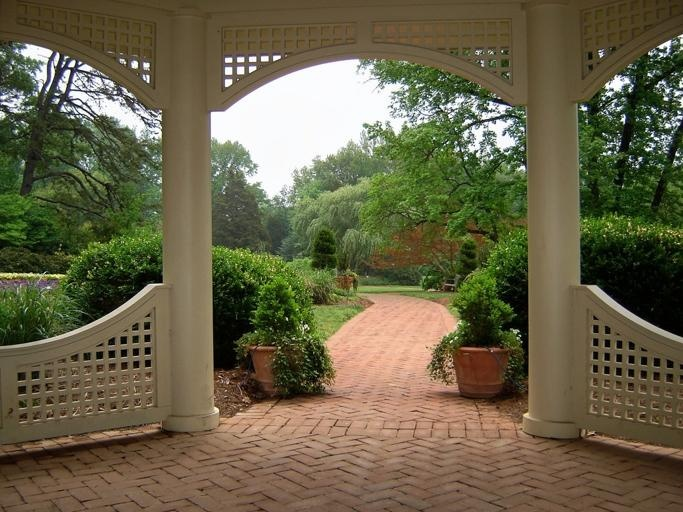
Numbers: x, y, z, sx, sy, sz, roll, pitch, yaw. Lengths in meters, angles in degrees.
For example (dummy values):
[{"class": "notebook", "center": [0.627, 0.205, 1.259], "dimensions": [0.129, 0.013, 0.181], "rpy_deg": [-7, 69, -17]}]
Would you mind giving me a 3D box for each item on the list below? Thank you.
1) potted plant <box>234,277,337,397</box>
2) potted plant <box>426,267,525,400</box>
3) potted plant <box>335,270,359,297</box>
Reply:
[{"class": "potted plant", "center": [-0.688, 0.979, 6.744], "dimensions": [1.275, 1.651, 1.314], "rpy_deg": [-6, -4, 40]}, {"class": "potted plant", "center": [1.630, 0.964, 6.180], "dimensions": [1.082, 1.391, 0.629], "rpy_deg": [1, 2, 12]}, {"class": "potted plant", "center": [0.229, 1.156, 22.233], "dimensions": [0.884, 0.718, 0.915], "rpy_deg": [-1, 2, 4]}]
